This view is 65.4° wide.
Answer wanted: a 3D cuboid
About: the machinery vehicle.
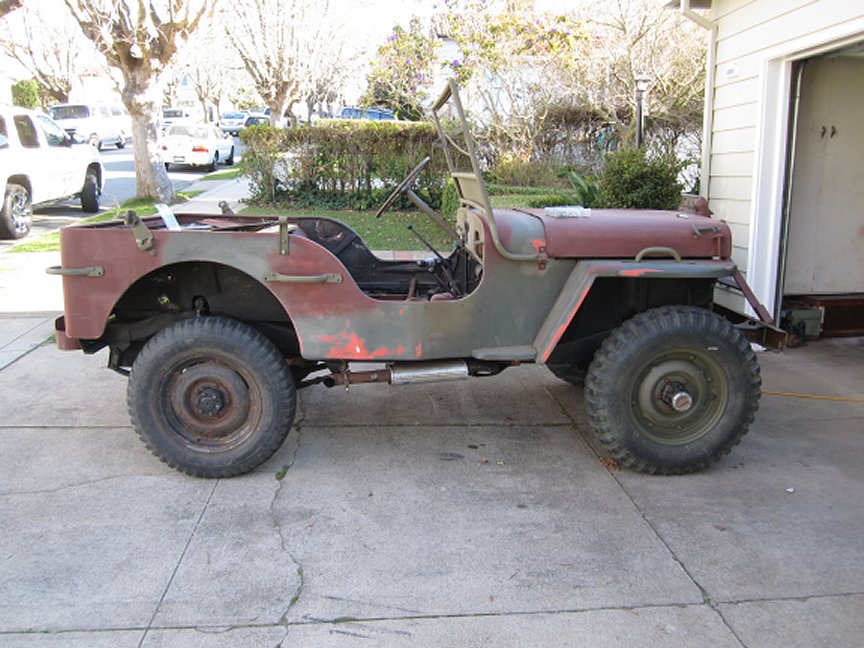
[{"bbox_3d":[-0.013,-0.283,4.884,4.371,2.382,2.273,0,6,0],"label":"machinery vehicle"}]
